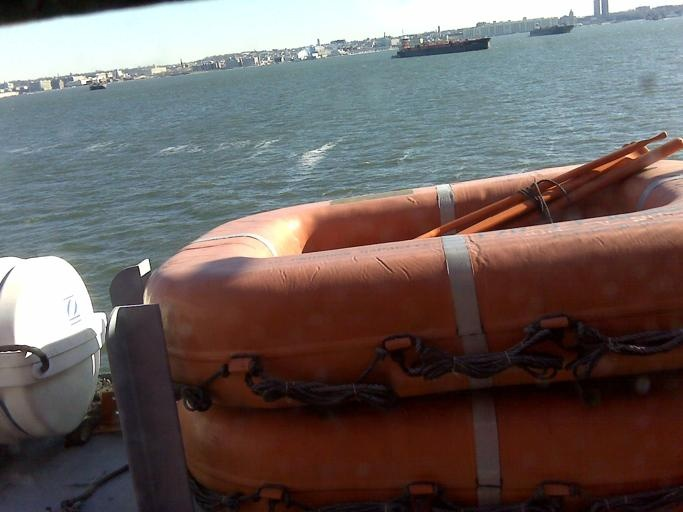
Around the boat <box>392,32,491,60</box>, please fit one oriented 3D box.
[{"bbox_3d":[11.689,-23.922,81.874,9.641,2.453,6.547,6,22,41],"label":"boat"}]
